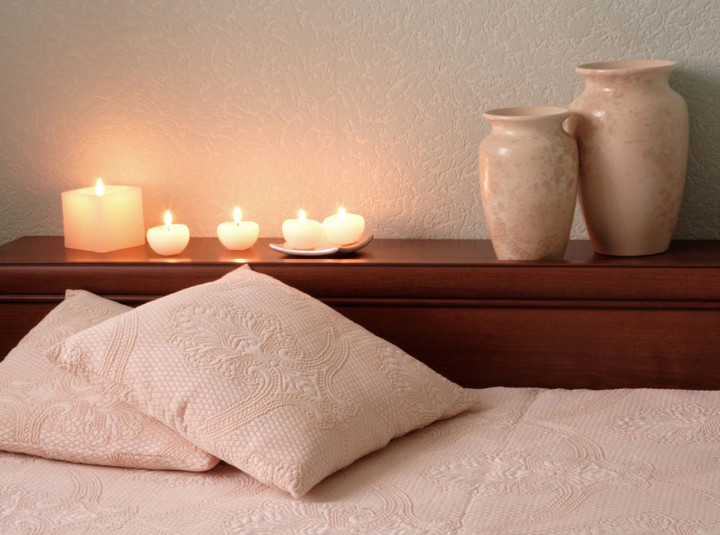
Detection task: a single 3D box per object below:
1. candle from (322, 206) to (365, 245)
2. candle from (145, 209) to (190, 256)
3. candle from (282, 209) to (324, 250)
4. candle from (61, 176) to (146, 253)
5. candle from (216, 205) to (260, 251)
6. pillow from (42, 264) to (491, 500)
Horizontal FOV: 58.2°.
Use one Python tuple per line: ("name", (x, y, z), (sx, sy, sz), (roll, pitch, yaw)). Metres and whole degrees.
("candle", (-0.043, -0.114, 1.673), (0.113, 0.087, 0.105), (-2, 11, -2))
("candle", (-0.509, -0.088, 1.701), (0.123, 0.110, 0.119), (2, -9, -38))
("candle", (-0.141, -0.099, 1.699), (0.114, 0.100, 0.108), (2, 14, 6))
("candle", (-0.670, -0.156, 1.739), (0.221, 0.217, 0.213), (8, 14, 35))
("candle", (-0.309, -0.106, 1.737), (0.132, 0.113, 0.123), (0, 7, 1))
("pillow", (-0.212, 0.197, 1.325), (0.649, 0.144, 0.672), (19, 24, -3))
